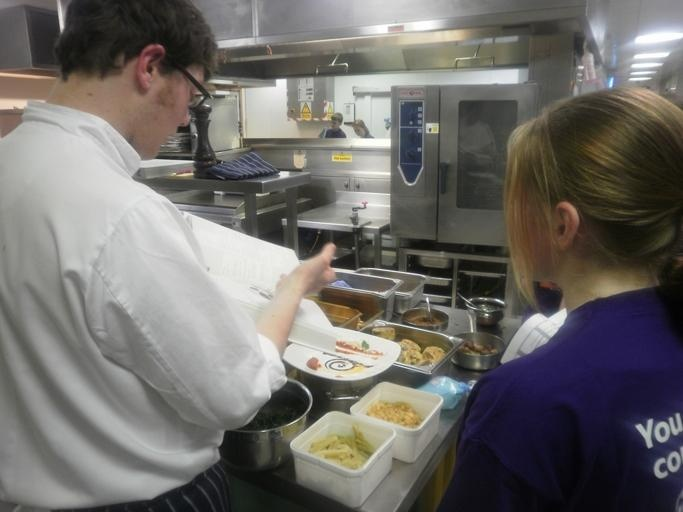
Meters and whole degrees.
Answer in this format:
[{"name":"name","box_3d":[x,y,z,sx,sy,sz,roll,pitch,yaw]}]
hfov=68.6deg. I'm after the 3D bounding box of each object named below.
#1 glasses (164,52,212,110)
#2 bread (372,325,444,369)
[{"name":"glasses","box_3d":[-0.339,-0.390,1.117,0.025,0.088,0.082,-30,13,-15]},{"name":"bread","box_3d":[0.236,0.332,1.817,0.179,0.031,0.123,15,24,30]}]
